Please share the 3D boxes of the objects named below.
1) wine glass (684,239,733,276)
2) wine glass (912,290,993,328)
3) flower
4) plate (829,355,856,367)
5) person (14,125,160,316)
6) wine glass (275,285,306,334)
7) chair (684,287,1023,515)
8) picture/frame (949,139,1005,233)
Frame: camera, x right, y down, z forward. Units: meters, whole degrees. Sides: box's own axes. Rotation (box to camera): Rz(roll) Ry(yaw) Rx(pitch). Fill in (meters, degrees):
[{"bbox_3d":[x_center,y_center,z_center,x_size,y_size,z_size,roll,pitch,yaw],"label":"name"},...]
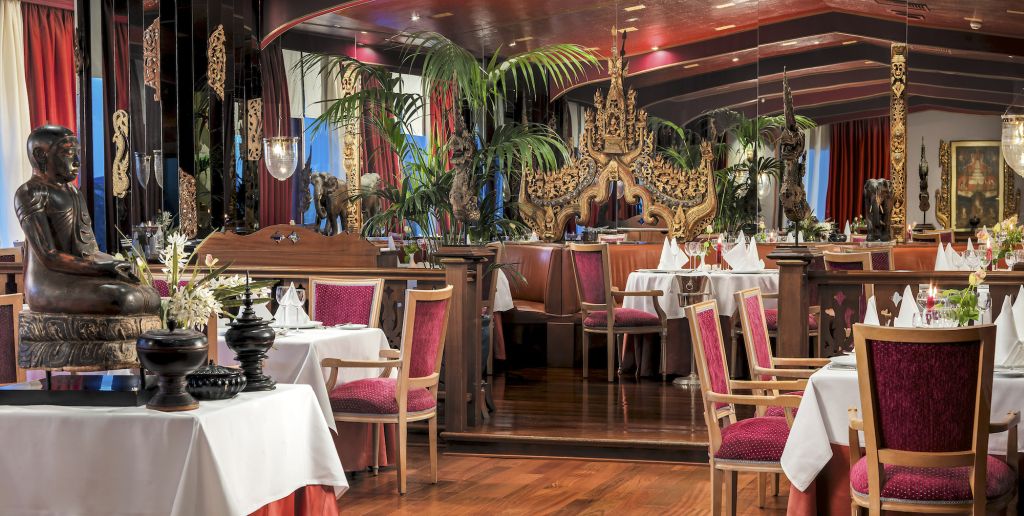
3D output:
[{"bbox_3d":[2.586,-0.015,10.743,0.389,0.299,0.848,-1,-5,12],"label":"wine glass"},{"bbox_3d":[3.185,0.362,6.017,0.329,0.240,0.362,1,-6,0],"label":"wine glass"},{"bbox_3d":[-2.533,0.126,6.637,0.735,0.455,0.683,29,26,15],"label":"flower"},{"bbox_3d":[2.383,0.741,5.888,0.169,0.074,0.209,-2,-2,23],"label":"plate"},{"bbox_3d":[-2.689,-0.238,5.136,0.798,1.204,0.202,-1,-1,4],"label":"person"},{"bbox_3d":[-1.936,0.440,7.193,0.356,0.374,0.370,1,-1,-4],"label":"wine glass"},{"bbox_3d":[2.487,1.047,5.843,1.872,2.417,1.766,-2,-3,26],"label":"chair"},{"bbox_3d":[6.847,-1.091,12.028,0.705,1.303,0.357,-2,-1,27],"label":"picture/frame"}]
